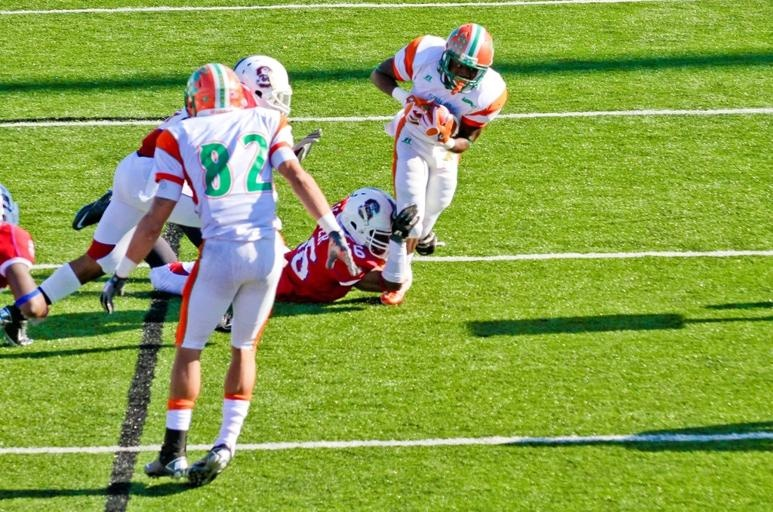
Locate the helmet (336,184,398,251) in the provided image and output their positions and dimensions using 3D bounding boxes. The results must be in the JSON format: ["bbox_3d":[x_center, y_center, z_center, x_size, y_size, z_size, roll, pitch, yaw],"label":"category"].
[{"bbox_3d":[-0.075,-0.306,8.967,0.620,0.401,0.412,16,18,24],"label":"helmet"}]

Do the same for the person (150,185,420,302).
[{"bbox_3d":[-0.714,0.059,9.184,2.187,0.746,0.875,-6,18,13],"label":"person"}]

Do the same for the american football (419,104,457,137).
[{"bbox_3d":[0.400,-0.997,8.653,0.229,0.257,0.124,7,48,8],"label":"american football"}]

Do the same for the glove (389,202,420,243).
[{"bbox_3d":[0.128,-0.259,8.712,0.224,0.272,0.179,8,23,16],"label":"glove"}]

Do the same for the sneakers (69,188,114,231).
[{"bbox_3d":[-2.310,-0.356,9.030,0.469,0.141,0.184,-29,13,7],"label":"sneakers"}]

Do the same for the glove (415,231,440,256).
[{"bbox_3d":[0.337,-0.099,9.309,0.146,0.120,0.215,17,-22,-6],"label":"glove"}]

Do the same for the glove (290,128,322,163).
[{"bbox_3d":[-0.619,-0.857,9.171,0.105,0.334,0.204,31,42,-33],"label":"glove"}]

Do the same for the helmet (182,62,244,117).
[{"bbox_3d":[-1.171,-1.122,7.946,0.413,0.355,0.482,-4,6,-12],"label":"helmet"}]

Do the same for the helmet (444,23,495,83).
[{"bbox_3d":[0.609,-1.494,8.655,0.384,0.491,0.174,2,23,0],"label":"helmet"}]

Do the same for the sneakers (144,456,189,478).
[{"bbox_3d":[-1.466,1.437,7.805,0.371,0.148,0.124,2,-7,23],"label":"sneakers"}]
